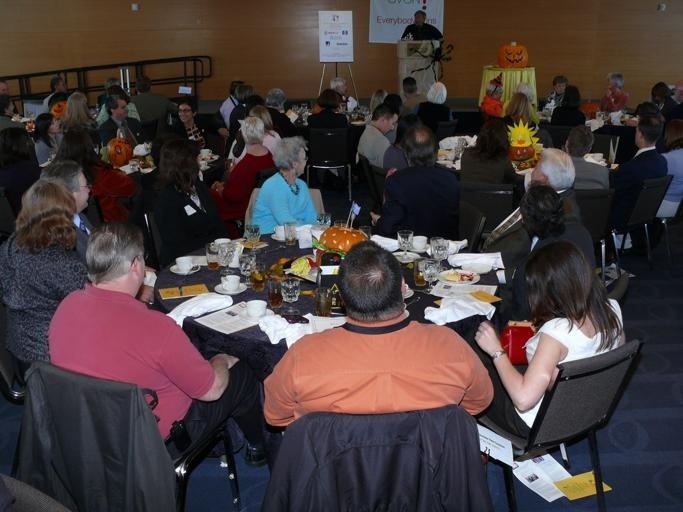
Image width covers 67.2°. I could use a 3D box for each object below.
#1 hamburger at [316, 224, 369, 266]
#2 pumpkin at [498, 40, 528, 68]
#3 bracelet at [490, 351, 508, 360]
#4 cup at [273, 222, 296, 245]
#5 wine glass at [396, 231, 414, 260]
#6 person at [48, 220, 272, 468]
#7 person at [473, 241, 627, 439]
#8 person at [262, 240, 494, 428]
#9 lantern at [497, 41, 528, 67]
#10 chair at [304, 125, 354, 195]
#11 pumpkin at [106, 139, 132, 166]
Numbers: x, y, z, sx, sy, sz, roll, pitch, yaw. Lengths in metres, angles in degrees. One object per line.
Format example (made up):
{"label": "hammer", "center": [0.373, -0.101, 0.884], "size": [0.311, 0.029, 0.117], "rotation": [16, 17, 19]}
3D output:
{"label": "hamburger", "center": [0.006, -0.090, 2.778], "size": [0.202, 0.224, 0.211], "rotation": [6, 12, 17]}
{"label": "pumpkin", "center": [3.042, -3.536, 9.047], "size": [0.454, 0.447, 0.444], "rotation": [5, 19, 22]}
{"label": "bracelet", "center": [0.661, 0.415, 2.149], "size": [0.036, 0.016, 0.038], "rotation": [-26, 8, -18]}
{"label": "cup", "center": [-0.377, -0.142, 3.391], "size": [0.145, 0.118, 0.109], "rotation": [6, 13, 44]}
{"label": "wine glass", "center": [0.398, -0.072, 3.202], "size": [0.123, 0.223, 0.136], "rotation": [-2, 26, 3]}
{"label": "person", "center": [-0.808, 0.498, 2.426], "size": [0.755, 1.297, 0.942], "rotation": [3, 15, 14]}
{"label": "person", "center": [0.882, 0.391, 2.157], "size": [0.610, 0.845, 0.499], "rotation": [3, 18, 16]}
{"label": "person", "center": [0.123, 0.340, 1.846], "size": [0.843, 0.732, 0.454], "rotation": [-4, 22, 1]}
{"label": "lantern", "center": [3.025, -3.543, 9.067], "size": [0.462, 0.447, 0.478], "rotation": [-19, 24, -41]}
{"label": "chair", "center": [-0.160, -1.341, 6.957], "size": [0.602, 1.187, 0.742], "rotation": [0, 48, 1]}
{"label": "pumpkin", "center": [-2.376, -1.111, 5.497], "size": [0.262, 0.268, 0.321], "rotation": [-11, 20, -25]}
